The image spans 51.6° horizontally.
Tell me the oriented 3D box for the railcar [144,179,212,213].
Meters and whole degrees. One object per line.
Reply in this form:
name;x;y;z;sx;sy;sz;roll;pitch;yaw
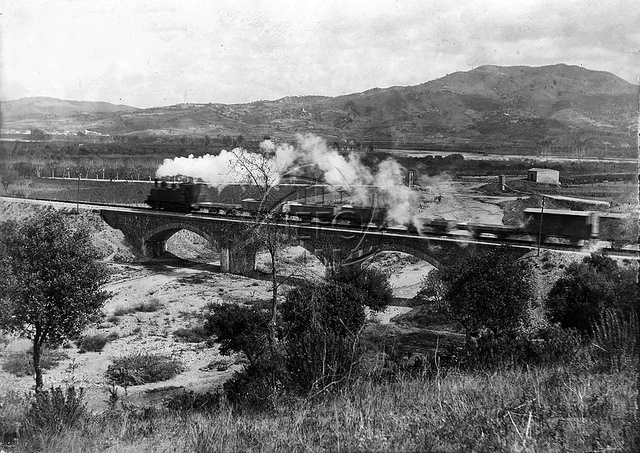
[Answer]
railcar;-15.796;-3.350;74.140;7.045;3.973;2.910;4;5;19

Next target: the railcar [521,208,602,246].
railcar;19.635;-0.269;54.404;3.244;3.432;6.072;-27;21;-39
